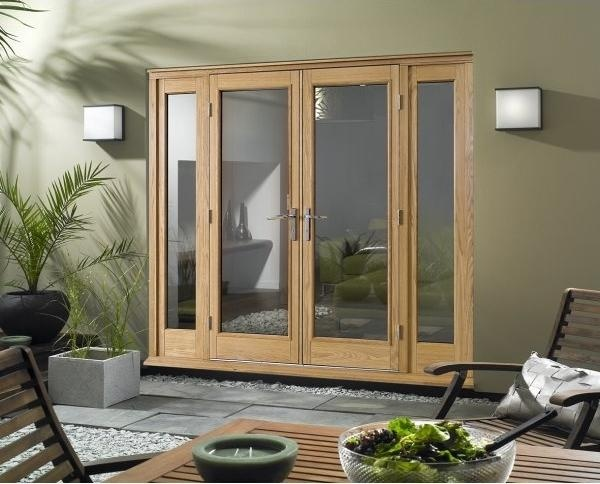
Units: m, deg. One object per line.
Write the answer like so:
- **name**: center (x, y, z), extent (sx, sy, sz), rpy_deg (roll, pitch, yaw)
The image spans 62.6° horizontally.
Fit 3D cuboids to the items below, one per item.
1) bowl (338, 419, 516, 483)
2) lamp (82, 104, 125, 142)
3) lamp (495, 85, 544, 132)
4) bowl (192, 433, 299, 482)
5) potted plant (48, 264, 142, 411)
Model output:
- **bowl**: center (0.224, 0.343, 0.821), extent (0.195, 0.073, 0.199), rpy_deg (0, 0, 0)
- **lamp**: center (-1.747, -1.068, 4.419), extent (0.439, 0.327, 0.143), rpy_deg (2, 2, 23)
- **lamp**: center (1.647, -0.985, 3.615), extent (0.161, 0.304, 0.375), rpy_deg (-17, 19, -21)
- **bowl**: center (-0.095, 0.373, 0.851), extent (0.135, 0.037, 0.118), rpy_deg (-1, 0, -6)
- **potted plant**: center (-1.672, 0.775, 4.006), extent (0.803, 0.939, 0.729), rpy_deg (0, -9, -28)
